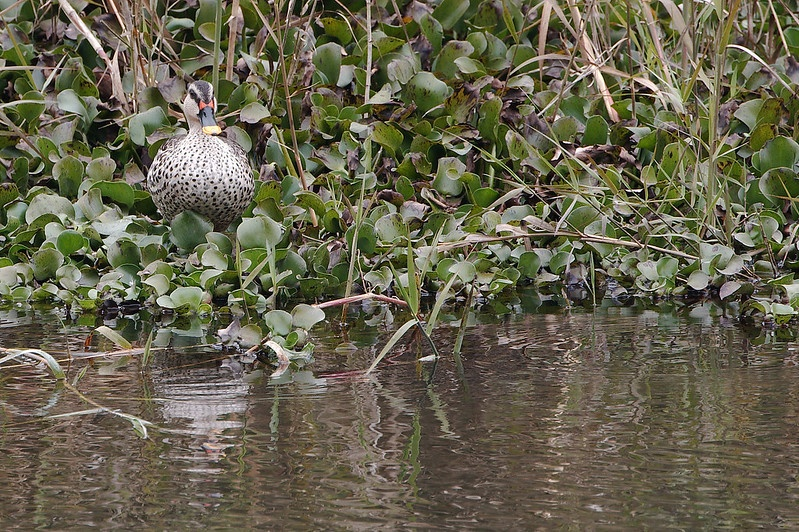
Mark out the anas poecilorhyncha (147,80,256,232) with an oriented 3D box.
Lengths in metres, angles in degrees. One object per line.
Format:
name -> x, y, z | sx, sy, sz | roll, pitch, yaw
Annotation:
anas poecilorhyncha -> -0.883, -0.500, 3.769 | 0.434, 0.690, 0.424 | 4, 10, 26
